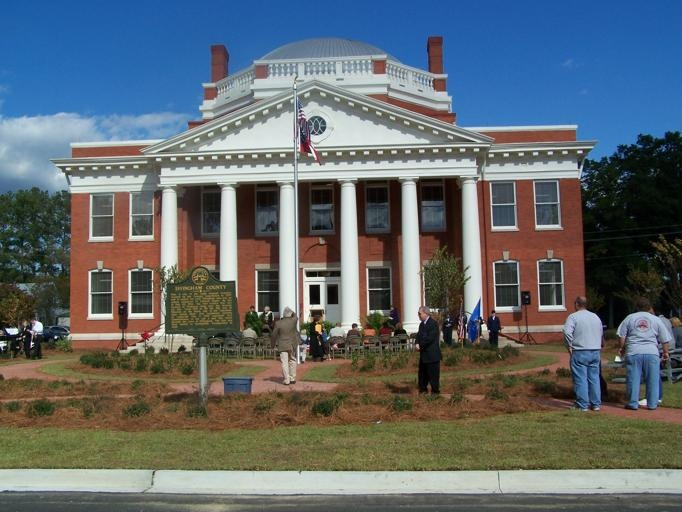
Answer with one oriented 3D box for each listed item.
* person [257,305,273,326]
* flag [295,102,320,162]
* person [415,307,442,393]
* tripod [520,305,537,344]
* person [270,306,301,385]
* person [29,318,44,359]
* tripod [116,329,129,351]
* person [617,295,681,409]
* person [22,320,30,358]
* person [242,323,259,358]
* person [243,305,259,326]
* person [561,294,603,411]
[{"bbox_3d":[-3.552,2.789,44.279,0.605,1.046,0.403,-2,-10,3],"label":"person"},{"bbox_3d":[-1.523,-5.367,42.421,0.298,3.014,2.526,-6,-14,18],"label":"flag"},{"bbox_3d":[2.499,2.798,27.558,0.710,2.612,1.127,0,9,5],"label":"person"},{"bbox_3d":[8.751,3.187,44.875,0.616,1.612,1.219,0,9,5],"label":"tripod"},{"bbox_3d":[-1.793,2.934,30.763,0.800,2.504,1.094,-1,9,-1],"label":"person"},{"bbox_3d":[-12.924,3.621,40.580,0.511,1.481,2.024,-4,10,-19],"label":"person"},{"bbox_3d":[-10.391,3.893,45.407,0.569,1.008,1.825,-3,10,-14],"label":"tripod"},{"bbox_3d":[8.255,2.672,26.294,1.295,3.034,0.988,1,9,10],"label":"person"},{"bbox_3d":[-13.122,3.514,40.026,0.385,1.409,0.886,-4,9,-18],"label":"person"},{"bbox_3d":[-3.683,3.261,38.429,0.698,1.451,0.815,-3,22,-15],"label":"person"},{"bbox_3d":[-4.162,2.846,44.228,0.706,0.949,0.624,4,-11,-23],"label":"person"},{"bbox_3d":[6.643,2.708,26.291,0.971,3.017,0.952,1,9,15],"label":"person"}]
